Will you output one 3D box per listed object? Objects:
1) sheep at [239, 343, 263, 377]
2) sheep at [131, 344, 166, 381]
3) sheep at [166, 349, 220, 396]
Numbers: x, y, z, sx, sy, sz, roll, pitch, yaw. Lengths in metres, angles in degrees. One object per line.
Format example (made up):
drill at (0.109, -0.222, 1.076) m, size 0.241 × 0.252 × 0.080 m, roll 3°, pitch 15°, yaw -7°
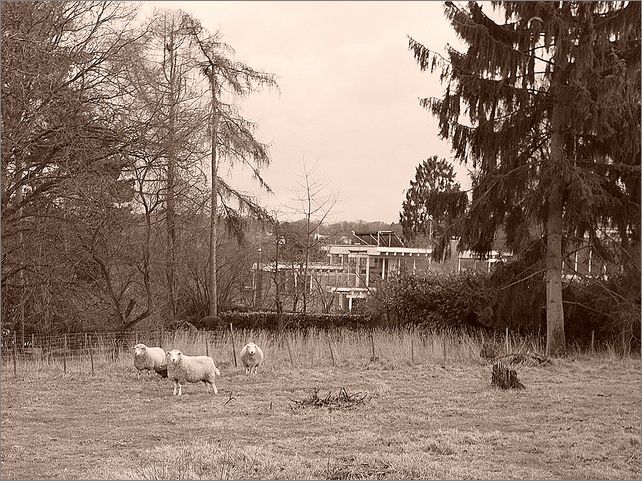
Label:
sheep at (-2.090, 3.636, 31.310) m, size 0.626 × 0.953 × 1.281 m, roll -1°, pitch -8°, yaw -5°
sheep at (-5.086, 3.631, 30.857) m, size 1.141 × 1.000 × 0.454 m, roll 5°, pitch -9°, yaw -42°
sheep at (-3.568, 3.732, 28.822) m, size 1.756 × 1.357 × 0.615 m, roll 8°, pitch -1°, yaw -39°
